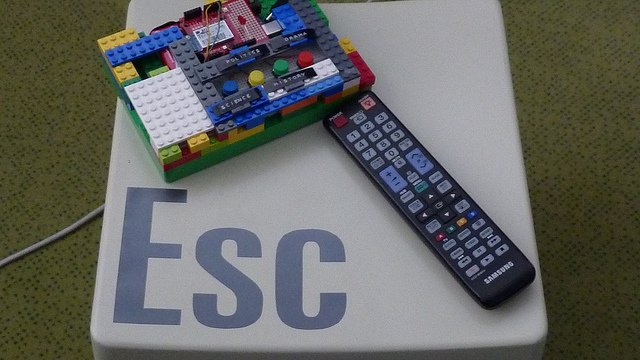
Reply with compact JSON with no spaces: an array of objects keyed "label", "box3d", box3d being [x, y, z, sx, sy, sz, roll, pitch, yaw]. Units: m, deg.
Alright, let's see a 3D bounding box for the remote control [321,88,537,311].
[{"label":"remote control","box3d":[0.189,0.016,1.487,0.221,0.095,0.724,-34,77,-15]}]
